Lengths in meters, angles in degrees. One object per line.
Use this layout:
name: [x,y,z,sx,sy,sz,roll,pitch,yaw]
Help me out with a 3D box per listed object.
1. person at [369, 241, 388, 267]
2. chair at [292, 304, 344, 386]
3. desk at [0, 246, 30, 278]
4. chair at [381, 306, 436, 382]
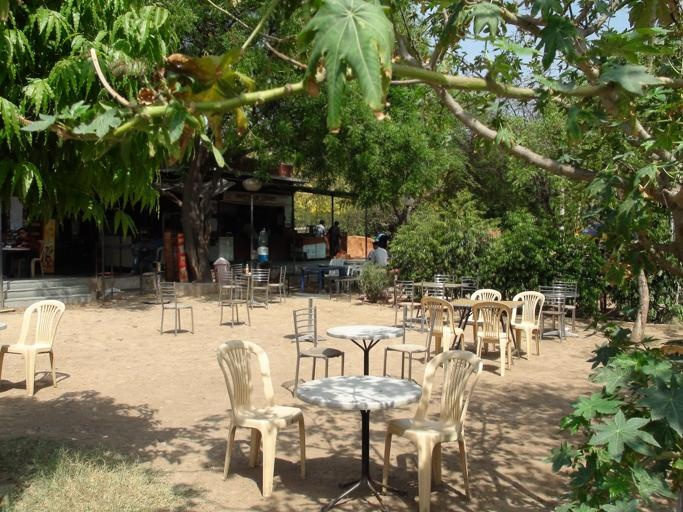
person: [1.215,0.015,18.042,0.565,0.663,1.064,1,-3,1]
chair: [-0.318,1.289,7.714,0.601,1.043,0.542,1,2,35]
desk: [-9.745,0.212,16.399,0.969,0.949,0.975,4,4,35]
chair: [1.081,1.346,8.714,0.836,1.261,0.804,-1,9,23]
